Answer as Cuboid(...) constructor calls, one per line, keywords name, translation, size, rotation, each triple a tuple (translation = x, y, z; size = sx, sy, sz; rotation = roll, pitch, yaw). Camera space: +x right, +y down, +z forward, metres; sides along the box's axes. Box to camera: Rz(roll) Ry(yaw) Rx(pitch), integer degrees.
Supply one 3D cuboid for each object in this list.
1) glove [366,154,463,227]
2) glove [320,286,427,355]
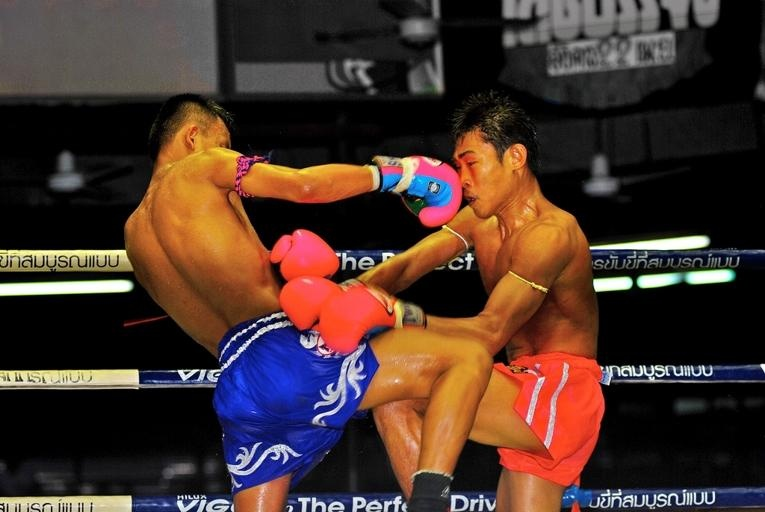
Cuboid(name="glove", translation=(0.211, -0.394, 6.781), size=(0.597, 0.221, 0.380), rotation=(40, 50, 21))
Cuboid(name="glove", translation=(-0.091, 0.325, 6.708), size=(0.728, 0.291, 0.428), rotation=(-6, 25, -44))
